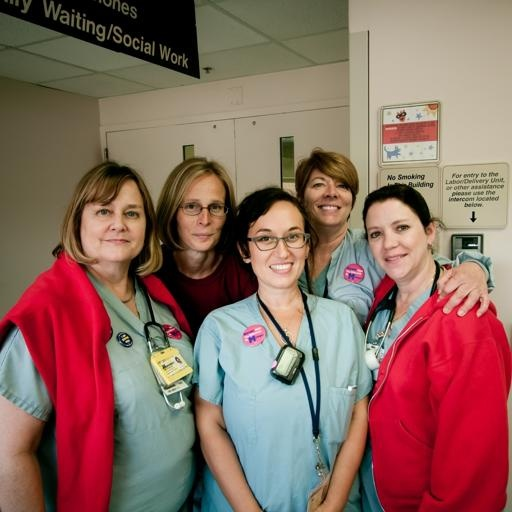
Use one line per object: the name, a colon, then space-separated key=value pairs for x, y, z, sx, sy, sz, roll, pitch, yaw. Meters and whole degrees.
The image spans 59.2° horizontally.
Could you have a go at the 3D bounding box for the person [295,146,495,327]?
person: x=0.564 y=-0.066 z=1.805 sx=0.576 sy=0.879 sz=0.308 roll=-6 pitch=-29 yaw=-8
